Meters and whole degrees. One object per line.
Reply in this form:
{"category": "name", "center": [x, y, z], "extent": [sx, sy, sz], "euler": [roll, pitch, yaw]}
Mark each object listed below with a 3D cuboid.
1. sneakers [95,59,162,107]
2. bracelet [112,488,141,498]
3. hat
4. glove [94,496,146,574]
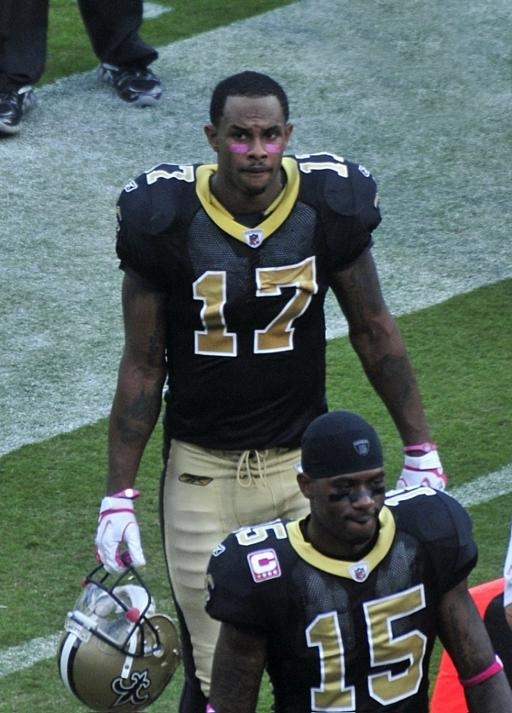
{"category": "sneakers", "center": [-1.046, -2.310, 7.235], "extent": [0.281, 0.553, 0.213], "euler": [-49, -10, -13]}
{"category": "bracelet", "center": [-0.350, 0.374, 2.347], "extent": [0.055, 0.019, 0.035], "euler": [-3, -2, 6]}
{"category": "hat", "center": [0.165, 0.161, 1.642], "extent": [0.178, 0.102, 0.168], "euler": [-10, 1, 14]}
{"category": "glove", "center": [-0.384, 0.481, 2.314], "extent": [0.099, 0.186, 0.178], "euler": [0, -7, -26]}
